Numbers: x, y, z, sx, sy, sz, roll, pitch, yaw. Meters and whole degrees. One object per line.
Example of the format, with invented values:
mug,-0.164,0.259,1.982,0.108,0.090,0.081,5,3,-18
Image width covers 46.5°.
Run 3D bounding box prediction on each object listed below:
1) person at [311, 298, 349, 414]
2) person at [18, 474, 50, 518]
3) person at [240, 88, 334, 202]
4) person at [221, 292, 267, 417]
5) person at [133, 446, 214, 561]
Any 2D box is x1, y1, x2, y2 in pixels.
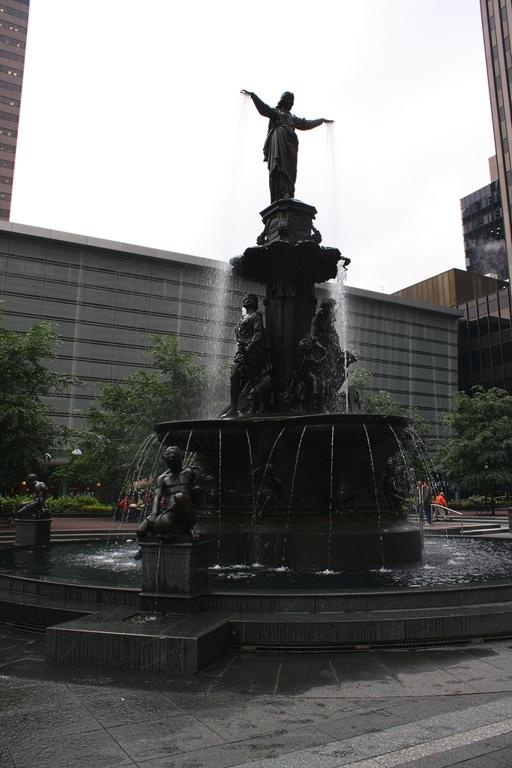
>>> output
person,1.610,-0.629,13.587,0.359,2.564,1.020,-4,-9,43
person,-6.141,3.091,16.582,0.778,1.046,2.278,5,-7,-20
person,0.654,-5.738,14.936,1.455,2.470,0.694,3,-7,-2
person,-0.202,-0.442,13.263,0.827,2.384,0.437,2,-7,8
person,-1.060,1.425,7.443,0.718,1.268,0.968,3,-7,-4
